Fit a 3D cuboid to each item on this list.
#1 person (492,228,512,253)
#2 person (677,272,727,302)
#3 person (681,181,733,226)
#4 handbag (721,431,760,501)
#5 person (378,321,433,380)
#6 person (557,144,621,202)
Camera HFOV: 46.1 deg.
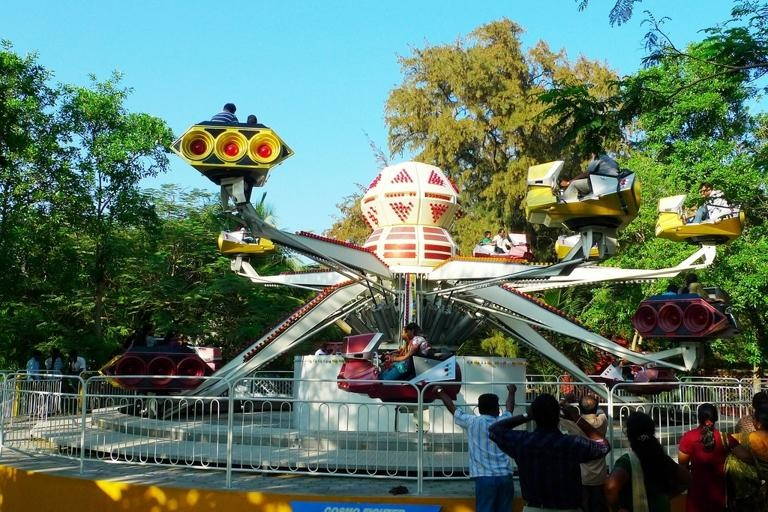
[{"bbox_3d":[3.638,-0.430,28.017,0.549,0.918,0.873,-2,-15,1],"label":"person"},{"bbox_3d":[8.109,0.797,22.919,1.134,0.469,0.632,5,-1,-22],"label":"person"},{"bbox_3d":[8.546,-1.232,23.764,0.880,1.344,1.039,-9,20,-43],"label":"person"},{"bbox_3d":[7.080,4.215,17.990,0.397,1.173,0.911,-6,-15,38],"label":"handbag"},{"bbox_3d":[0.479,2.222,20.973,1.186,1.335,0.562,-3,-16,3],"label":"person"},{"bbox_3d":[4.776,-1.728,20.907,0.971,1.032,1.572,22,-33,-39],"label":"person"}]
